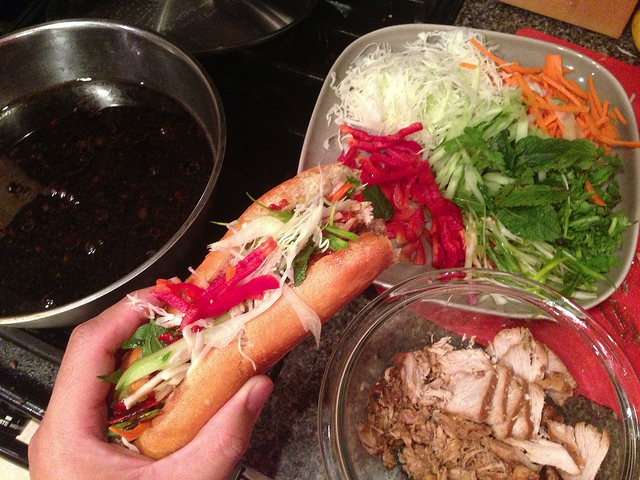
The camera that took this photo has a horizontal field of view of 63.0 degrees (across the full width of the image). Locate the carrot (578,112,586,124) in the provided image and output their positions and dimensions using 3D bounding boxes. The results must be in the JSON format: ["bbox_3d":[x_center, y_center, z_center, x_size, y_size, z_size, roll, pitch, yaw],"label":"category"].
[{"bbox_3d":[0.920,-0.430,1.834,0.007,0.028,0.029,-5,49,-18],"label":"carrot"}]

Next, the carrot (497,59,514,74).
[{"bbox_3d":[0.675,-0.627,1.903,0.016,0.017,0.067,-34,79,-14],"label":"carrot"}]

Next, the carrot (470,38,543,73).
[{"bbox_3d":[0.677,-0.648,1.902,0.300,0.047,0.051,19,41,-9],"label":"carrot"}]

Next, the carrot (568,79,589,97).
[{"bbox_3d":[0.913,-0.532,1.843,0.010,0.019,0.079,-39,80,-28],"label":"carrot"}]

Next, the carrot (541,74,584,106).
[{"bbox_3d":[0.860,-0.524,1.845,0.025,0.020,0.151,-40,81,-22],"label":"carrot"}]

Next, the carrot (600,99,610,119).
[{"bbox_3d":[0.986,-0.451,1.802,0.019,0.009,0.085,18,75,29],"label":"carrot"}]

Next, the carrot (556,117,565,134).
[{"bbox_3d":[0.838,-0.396,1.821,0.013,0.013,0.056,-1,72,-45],"label":"carrot"}]

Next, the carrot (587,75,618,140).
[{"bbox_3d":[0.976,-0.451,1.813,0.042,0.030,0.274,-6,78,-5],"label":"carrot"}]

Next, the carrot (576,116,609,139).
[{"bbox_3d":[0.942,-0.382,1.795,0.117,0.031,0.018,-39,29,-2],"label":"carrot"}]

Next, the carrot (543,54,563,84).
[{"bbox_3d":[0.846,-0.605,1.891,0.056,0.025,0.104,2,86,20],"label":"carrot"}]

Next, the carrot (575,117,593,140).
[{"bbox_3d":[0.920,-0.392,1.816,0.017,0.061,0.053,-17,44,-44],"label":"carrot"}]

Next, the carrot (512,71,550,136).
[{"bbox_3d":[0.742,-0.490,1.833,0.055,0.042,0.330,-6,78,2],"label":"carrot"}]

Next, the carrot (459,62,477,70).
[{"bbox_3d":[0.539,-0.630,1.892,0.064,0.017,0.016,18,25,1],"label":"carrot"}]

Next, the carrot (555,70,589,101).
[{"bbox_3d":[0.893,-0.540,1.846,0.016,0.022,0.148,-46,77,3],"label":"carrot"}]

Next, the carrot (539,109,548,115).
[{"bbox_3d":[0.789,-0.449,1.842,0.025,0.006,0.025,2,89,9],"label":"carrot"}]

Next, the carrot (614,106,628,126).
[{"bbox_3d":[1.030,-0.418,1.787,0.017,0.020,0.084,-4,70,-29],"label":"carrot"}]

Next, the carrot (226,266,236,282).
[{"bbox_3d":[-0.248,0.093,1.432,0.034,0.010,0.035,-10,105,-3],"label":"carrot"}]
